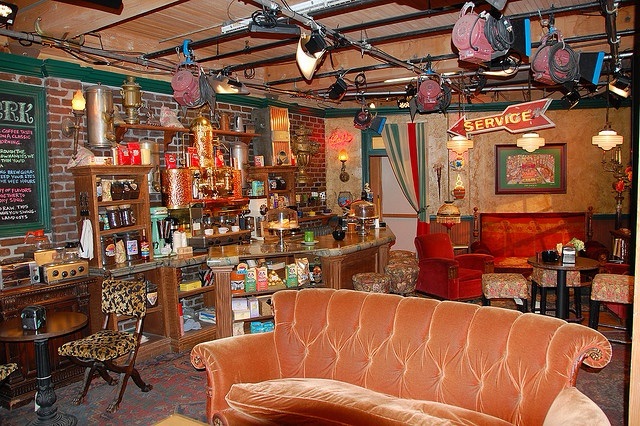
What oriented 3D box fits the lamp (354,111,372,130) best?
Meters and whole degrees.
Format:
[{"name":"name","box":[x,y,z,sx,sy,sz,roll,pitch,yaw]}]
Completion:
[{"name":"lamp","box":[0.804,-1.751,8.478,0.323,0.358,0.222,-3,4,12]}]

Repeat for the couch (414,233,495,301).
[{"name":"couch","box":[2.270,0.945,8.282,1.183,1.191,1.253,1,-4,-33]}]

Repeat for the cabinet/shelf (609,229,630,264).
[{"name":"cabinet/shelf","box":[5.442,0.618,8.229,0.259,0.529,0.593,0,2,7]}]

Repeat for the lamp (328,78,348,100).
[{"name":"lamp","box":[0.272,-2.033,7.478,0.266,0.316,0.408,-4,4,-1]}]

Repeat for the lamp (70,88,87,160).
[{"name":"lamp","box":[-3.336,-1.235,6.242,0.243,0.973,0.390,-7,5,-26]}]

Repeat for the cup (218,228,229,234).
[{"name":"cup","box":[-1.587,0.292,7.391,0.085,0.062,0.115,-8,-13,41]}]

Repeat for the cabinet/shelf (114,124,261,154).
[{"name":"cabinet/shelf","box":[-2.173,-1.191,7.376,0.450,0.373,2.436,-1,4,42]}]

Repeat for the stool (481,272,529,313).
[{"name":"stool","box":[2.938,1.165,7.287,0.711,0.561,0.691,2,7,12]}]

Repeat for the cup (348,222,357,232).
[{"name":"cup","box":[0.509,0.237,7.220,0.135,0.121,0.132,0,4,0]}]

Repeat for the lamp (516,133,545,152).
[{"name":"lamp","box":[3.809,-1.269,8.267,0.437,0.353,0.425,1,3,2]}]

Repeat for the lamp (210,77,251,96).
[{"name":"lamp","box":[-1.316,-1.759,6.379,0.425,0.162,0.301,8,9,17]}]

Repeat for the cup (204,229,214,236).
[{"name":"cup","box":[-1.756,0.309,7.160,0.169,0.103,0.168,-4,4,0]}]

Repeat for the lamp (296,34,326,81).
[{"name":"lamp","box":[-0.145,-1.939,5.694,0.354,0.494,0.179,41,35,21]}]

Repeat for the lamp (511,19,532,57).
[{"name":"lamp","box":[2.415,-2.128,5.472,0.212,0.462,0.417,-2,4,24]}]

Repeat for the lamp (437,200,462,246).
[{"name":"lamp","box":[2.432,0.139,8.593,0.445,0.687,0.429,0,6,7]}]

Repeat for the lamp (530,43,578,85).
[{"name":"lamp","box":[2.851,-1.809,5.526,0.500,0.460,0.311,-2,5,27]}]

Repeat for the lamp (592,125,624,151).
[{"name":"lamp","box":[4.973,-1.240,7.807,0.512,0.419,0.501,2,1,10]}]

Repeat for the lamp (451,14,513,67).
[{"name":"lamp","box":[1.705,-1.996,5.054,0.444,0.580,0.276,-4,4,4]}]

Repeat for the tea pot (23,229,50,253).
[{"name":"tea pot","box":[-3.727,0.367,5.975,0.350,0.298,0.225,0,1,5]}]

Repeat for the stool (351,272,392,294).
[{"name":"stool","box":[0.726,1.008,6.585,0.360,0.157,0.329,-2,-1,29]}]

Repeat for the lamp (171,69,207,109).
[{"name":"lamp","box":[-1.759,-1.662,5.999,0.431,0.489,0.279,-4,4,1]}]

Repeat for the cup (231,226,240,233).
[{"name":"cup","box":[-1.431,0.260,7.608,0.137,0.100,0.148,-4,4,0]}]

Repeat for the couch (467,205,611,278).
[{"name":"couch","box":[4.411,0.742,9.229,2.450,1.413,1.043,-1,12,9]}]

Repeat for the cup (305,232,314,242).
[{"name":"cup","box":[-0.185,0.349,6.515,0.141,0.154,0.140,-2,0,0]}]

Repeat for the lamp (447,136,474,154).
[{"name":"lamp","box":[2.617,-1.260,8.513,0.454,0.391,0.427,1,2,41]}]

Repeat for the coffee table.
[{"name":"coffee table","box":[3.633,1.162,7.149,0.981,1.000,0.936,0,0,0]}]

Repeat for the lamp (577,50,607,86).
[{"name":"lamp","box":[3.597,-1.945,6.080,0.386,0.435,0.174,-5,4,-7]}]

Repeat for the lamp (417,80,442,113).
[{"name":"lamp","box":[1.694,-1.820,7.069,0.341,0.434,0.415,2,10,12]}]

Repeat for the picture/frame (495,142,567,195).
[{"name":"picture/frame","box":[4.591,-0.960,9.734,1.227,0.833,0.057,0,-1,11]}]

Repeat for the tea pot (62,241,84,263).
[{"name":"tea pot","box":[-3.287,0.519,6.002,0.227,0.245,0.168,-6,5,-26]}]

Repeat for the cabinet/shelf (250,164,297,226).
[{"name":"cabinet/shelf","box":[-0.878,-0.500,8.821,0.474,0.798,1.056,-2,4,33]}]
